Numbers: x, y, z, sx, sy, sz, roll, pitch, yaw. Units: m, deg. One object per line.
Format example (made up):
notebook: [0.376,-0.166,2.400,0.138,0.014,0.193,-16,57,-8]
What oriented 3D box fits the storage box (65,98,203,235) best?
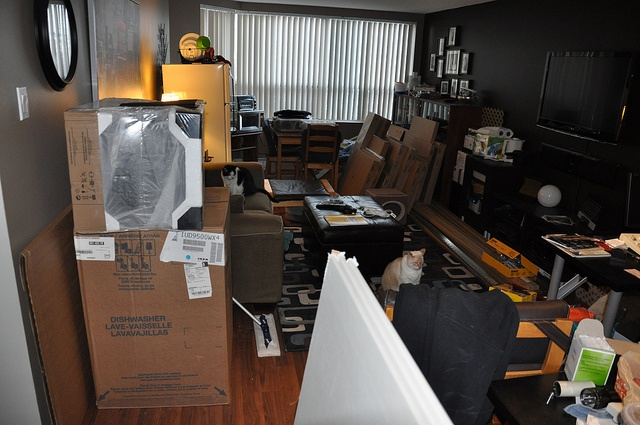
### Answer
storage box: [-1.121,-0.320,2.941,0.808,0.728,0.821,-1,18,-9]

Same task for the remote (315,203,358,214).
remote: [0.192,-0.046,4.860,0.383,0.101,0.161,6,27,7]

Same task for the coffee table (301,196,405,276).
coffee table: [0.331,0.252,4.891,0.886,0.602,1.085,-4,19,-12]

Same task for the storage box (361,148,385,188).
storage box: [0.799,-0.629,6.425,0.284,0.450,0.615,2,19,5]

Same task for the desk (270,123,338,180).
desk: [-0.191,-0.832,7.206,0.869,1.190,0.921,-1,8,-11]

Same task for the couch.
couch: [-0.647,0.188,3.840,0.458,0.511,1.409,-2,25,-14]

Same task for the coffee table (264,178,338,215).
coffee table: [-0.271,-0.295,5.786,0.512,0.296,0.752,-3,25,-11]

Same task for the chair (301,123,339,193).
chair: [-0.028,-0.926,7.226,0.682,1.194,0.753,3,21,-1]

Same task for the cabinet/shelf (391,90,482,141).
cabinet/shelf: [1.817,-1.631,7.426,0.394,0.665,1.279,-15,28,-31]

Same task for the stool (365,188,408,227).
stool: [0.805,-0.059,5.290,0.390,0.528,0.284,-4,51,0]

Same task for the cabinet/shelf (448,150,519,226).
cabinet/shelf: [2.163,-0.317,5.662,0.457,0.785,0.813,-4,27,-17]
